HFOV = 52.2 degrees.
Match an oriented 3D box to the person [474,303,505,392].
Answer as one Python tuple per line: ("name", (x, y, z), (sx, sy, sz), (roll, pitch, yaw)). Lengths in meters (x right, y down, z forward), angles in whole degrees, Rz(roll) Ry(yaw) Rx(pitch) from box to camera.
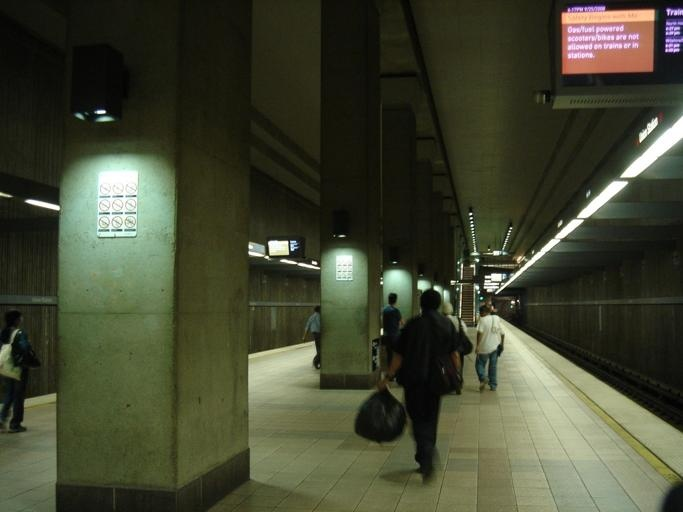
("person", (2.881, 1.735, 13.415), (0.515, 1.575, 2.230), (-1, -5, 11))

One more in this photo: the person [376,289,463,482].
("person", (0.872, 1.330, 7.352), (0.757, 1.953, 0.418), (-1, -4, 10))

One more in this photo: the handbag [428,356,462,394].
("handbag", (1.084, 1.241, 7.284), (0.403, 0.469, 0.263), (0, -37, 12))

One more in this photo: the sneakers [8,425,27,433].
("sneakers", (-4.463, 2.365, 9.558), (0.070, 0.100, 0.218), (6, -3, 38))
